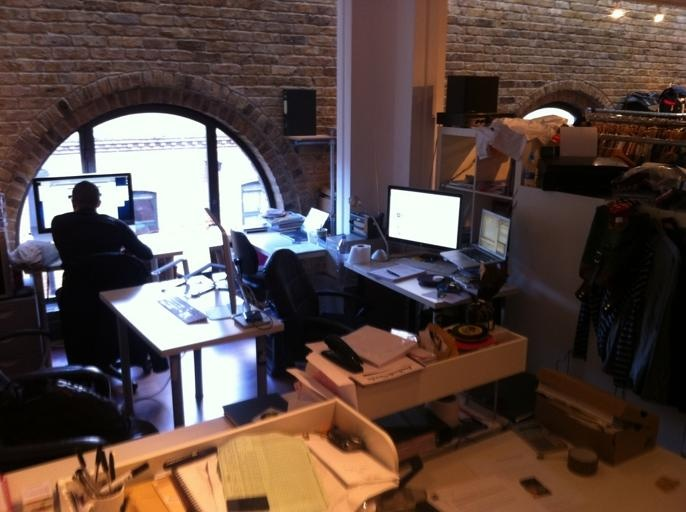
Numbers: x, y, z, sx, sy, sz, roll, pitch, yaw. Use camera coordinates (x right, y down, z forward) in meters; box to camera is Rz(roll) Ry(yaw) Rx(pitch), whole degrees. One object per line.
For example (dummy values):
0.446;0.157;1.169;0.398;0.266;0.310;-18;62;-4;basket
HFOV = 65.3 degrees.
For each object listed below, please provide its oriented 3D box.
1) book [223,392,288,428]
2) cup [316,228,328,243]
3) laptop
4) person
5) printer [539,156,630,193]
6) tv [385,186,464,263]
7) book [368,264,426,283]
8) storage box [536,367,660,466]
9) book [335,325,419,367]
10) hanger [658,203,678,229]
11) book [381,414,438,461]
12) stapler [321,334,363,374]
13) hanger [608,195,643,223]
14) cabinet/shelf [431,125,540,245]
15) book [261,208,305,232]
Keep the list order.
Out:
-0.350;0.618;2.192;0.198;0.056;0.118;-7;16;-32;book
-0.183;-0.196;4.946;0.111;0.118;0.110;0;12;0;cup
0.973;-0.089;3.741;0.426;0.365;0.502;-7;20;-16;laptop
-1.864;-0.174;4.096;0.769;0.957;0.579;-6;25;-21;person
1.521;-0.515;3.444;0.298;0.130;0.370;-1;19;-1;printer
0.662;-0.258;4.191;0.567;0.389;0.167;12;19;39;tv
0.406;0.121;4.027;0.196;0.038;0.182;-16;21;-33;book
1.149;0.668;2.379;0.350;0.276;0.489;-6;12;-28;storage box
0.143;0.380;2.259;0.192;0.045;0.193;-16;26;-38;book
1.737;-0.207;2.835;0.101;0.131;0.037;-8;-11;41;hanger
0.277;0.748;2.198;0.212;0.047;0.190;-5;18;-12;book
-0.002;0.383;2.144;0.072;0.086;0.223;-11;20;-34;stapler
1.549;-0.261;2.941;0.216;0.187;0.121;-3;10;-20;hanger
1.066;-0.618;4.337;0.733;0.226;0.670;5;-16;-33;cabinet/shelf
-0.619;-0.378;5.408;0.254;0.093;0.311;-6;19;-25;book
